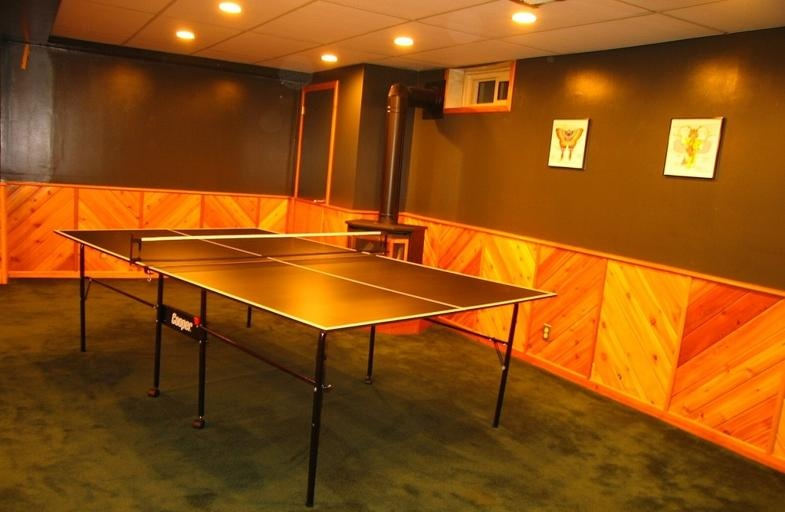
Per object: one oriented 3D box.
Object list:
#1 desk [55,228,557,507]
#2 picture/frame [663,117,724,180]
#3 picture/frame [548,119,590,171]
[{"bbox_3d":[-0.879,0.697,5.256,3.737,1.549,2.022,14,16,34],"label":"desk"},{"bbox_3d":[2.803,-0.999,5.399,0.070,0.492,0.632,5,1,-30],"label":"picture/frame"},{"bbox_3d":[1.899,-1.193,6.247,0.075,0.647,0.543,4,6,-43],"label":"picture/frame"}]
